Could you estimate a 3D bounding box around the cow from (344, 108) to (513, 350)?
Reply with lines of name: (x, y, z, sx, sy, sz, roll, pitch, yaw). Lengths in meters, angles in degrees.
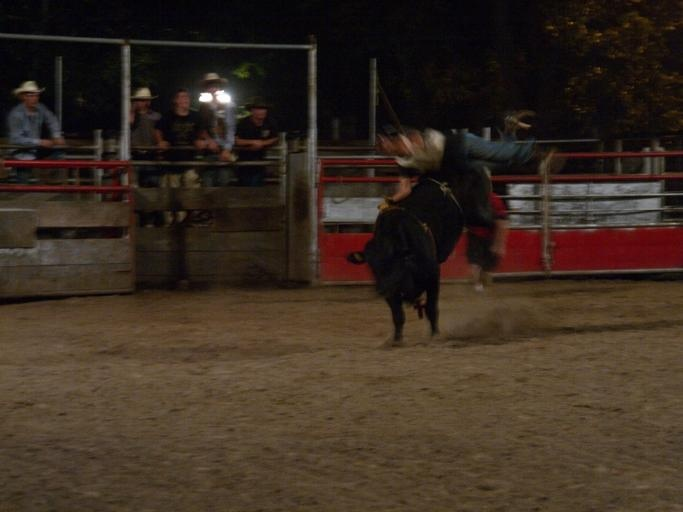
cow: (0.793, -0.180, 7.174, 1.414, 1.867, 0.605, -8, 13, -40)

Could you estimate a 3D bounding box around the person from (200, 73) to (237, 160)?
person: (-1.647, -1.865, 10.863, 0.457, 1.153, 0.649, -1, 10, -7)

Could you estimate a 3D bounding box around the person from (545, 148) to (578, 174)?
person: (2.875, -1.312, 10.990, 0.303, 0.314, 0.749, 2, 9, 13)

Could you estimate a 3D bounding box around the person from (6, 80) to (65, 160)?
person: (-3.966, -1.774, 10.577, 0.638, 1.001, 0.998, -3, 10, -18)

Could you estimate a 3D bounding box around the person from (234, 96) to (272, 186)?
person: (-1.170, -1.556, 11.009, 0.501, 1.170, 0.618, 8, 13, 38)

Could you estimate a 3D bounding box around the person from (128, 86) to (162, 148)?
person: (-2.680, -1.933, 11.173, 0.403, 0.809, 1.400, -2, 9, -12)
